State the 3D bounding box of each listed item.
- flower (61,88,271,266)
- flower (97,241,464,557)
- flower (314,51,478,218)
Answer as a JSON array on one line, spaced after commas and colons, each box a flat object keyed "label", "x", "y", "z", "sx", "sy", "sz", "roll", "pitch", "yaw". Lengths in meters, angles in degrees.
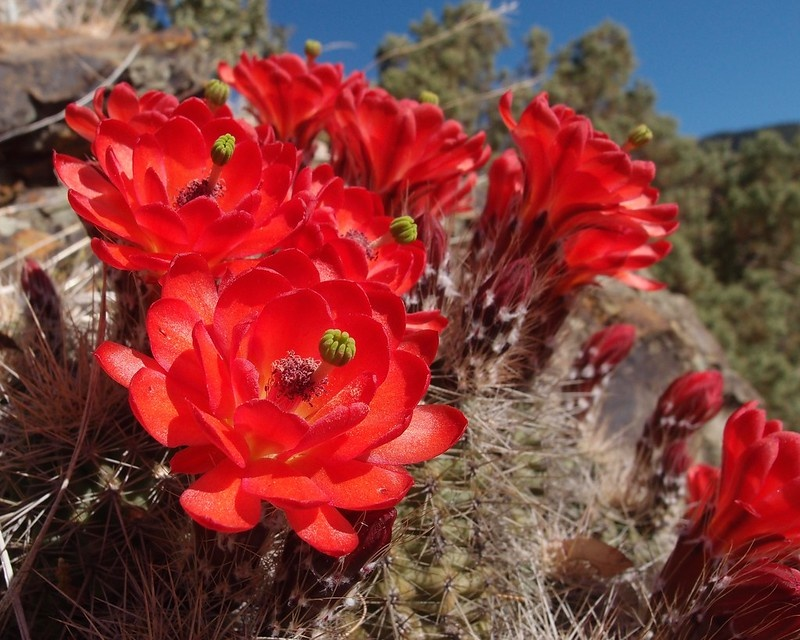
[{"label": "flower", "x": -0.350, "y": -0.307, "z": 1.392, "sx": 0.330, "sy": 0.183, "sz": 0.391, "roll": 12, "pitch": 13, "yaw": -8}, {"label": "flower", "x": -0.127, "y": 0.236, "z": 1.167, "sx": 0.519, "sy": 0.246, "sz": 0.509, "roll": -14, "pitch": -24, "yaw": 11}, {"label": "flower", "x": 0.013, "y": -0.289, "z": 1.448, "sx": 0.263, "sy": 0.188, "sz": 0.248, "roll": 30, "pitch": 7, "yaw": -45}]
